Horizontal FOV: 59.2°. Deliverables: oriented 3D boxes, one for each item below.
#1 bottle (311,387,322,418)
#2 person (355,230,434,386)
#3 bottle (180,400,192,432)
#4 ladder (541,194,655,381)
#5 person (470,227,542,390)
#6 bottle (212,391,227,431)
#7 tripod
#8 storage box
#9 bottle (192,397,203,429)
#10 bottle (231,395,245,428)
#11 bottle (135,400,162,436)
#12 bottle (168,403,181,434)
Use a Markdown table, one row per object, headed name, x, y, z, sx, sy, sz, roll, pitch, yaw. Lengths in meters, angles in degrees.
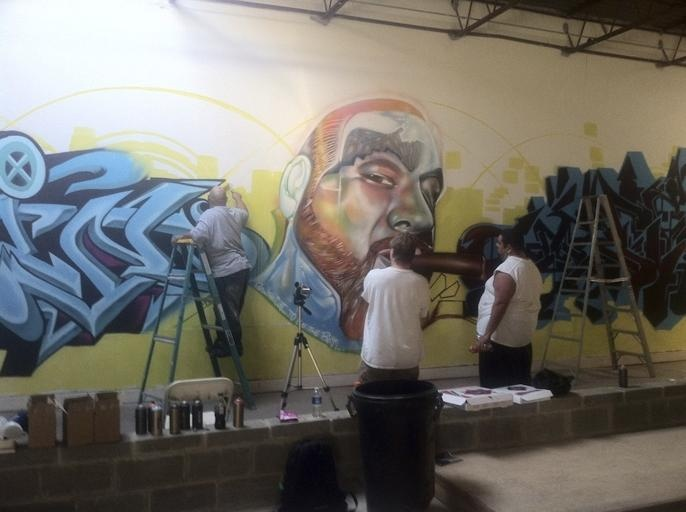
| name | x | y | z | sx | sy | sz | roll | pitch | yaw |
| --- | --- | --- | --- | --- | --- | --- | --- | --- | --- |
| bottle | -0.232 | 1.331 | 5.463 | 0.074 | 0.220 | 0.243 | 0 | -3 | -5 |
| person | 0.448 | 0.467 | 5.338 | 0.629 | 1.309 | 0.316 | -1 | -3 | 3 |
| bottle | -1.343 | 1.365 | 5.146 | 0.089 | 0.237 | 0.057 | 0 | -3 | -17 |
| ladder | 3.496 | 0.351 | 8.184 | 1.702 | 2.432 | 0.907 | 1 | -3 | -28 |
| person | 1.636 | 0.531 | 5.987 | 0.633 | 1.548 | 0.579 | -2 | -3 | 20 |
| bottle | -1.065 | 1.345 | 5.248 | 0.105 | 0.276 | 0.219 | 0 | -3 | -12 |
| tripod | -0.382 | 1.115 | 6.688 | 0.605 | 1.100 | 1.404 | 0 | -3 | -5 |
| storage box | -2.211 | 1.345 | 4.974 | 0.740 | 0.386 | 0.343 | 0 | -3 | -15 |
| bottle | -1.246 | 1.369 | 5.176 | 0.092 | 0.237 | 0.082 | 0 | -3 | -18 |
| bottle | -0.901 | 1.365 | 5.226 | 0.099 | 0.234 | 0.115 | 0 | -3 | -13 |
| bottle | -1.629 | 1.369 | 5.075 | 0.229 | 0.255 | 0.117 | -1 | -3 | 2 |
| bottle | -1.410 | 1.366 | 5.089 | 0.104 | 0.261 | 0.086 | 1 | -3 | -24 |
